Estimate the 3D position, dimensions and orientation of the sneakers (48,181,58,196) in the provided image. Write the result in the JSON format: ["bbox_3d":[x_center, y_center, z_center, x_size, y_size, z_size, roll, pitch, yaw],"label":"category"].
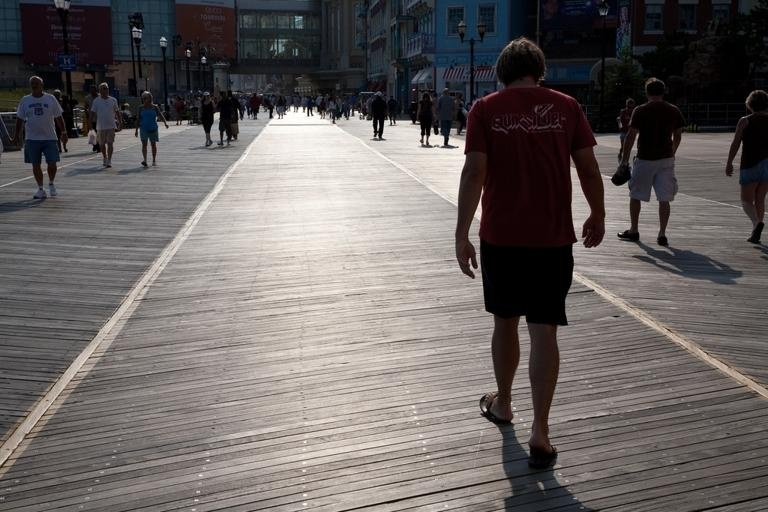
[{"bbox_3d":[-7.379,-1.520,13.540,0.191,0.196,0.505,-5,27,-23],"label":"sneakers"}]

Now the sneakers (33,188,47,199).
[{"bbox_3d":[-7.501,-1.341,13.151,0.184,0.192,0.488,-2,8,-14],"label":"sneakers"}]

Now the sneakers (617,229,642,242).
[{"bbox_3d":[3.883,-0.315,9.516,0.146,0.138,0.357,-18,18,-29],"label":"sneakers"}]

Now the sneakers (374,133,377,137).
[{"bbox_3d":[-0.449,-6.749,33.800,0.240,0.140,0.384,2,6,0],"label":"sneakers"}]

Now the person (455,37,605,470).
[{"bbox_3d":[0.852,-0.057,3.631,0.868,2.427,0.844,4,16,18],"label":"person"}]

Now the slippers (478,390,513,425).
[{"bbox_3d":[0.727,1.019,4.043,0.120,0.072,0.244,-17,25,-5],"label":"slippers"}]

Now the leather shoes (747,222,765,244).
[{"bbox_3d":[5.582,-0.323,9.062,0.163,0.369,0.171,12,52,26],"label":"leather shoes"}]

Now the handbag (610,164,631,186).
[{"bbox_3d":[3.702,-1.241,9.408,0.152,0.320,0.265,-5,23,17],"label":"handbag"}]
